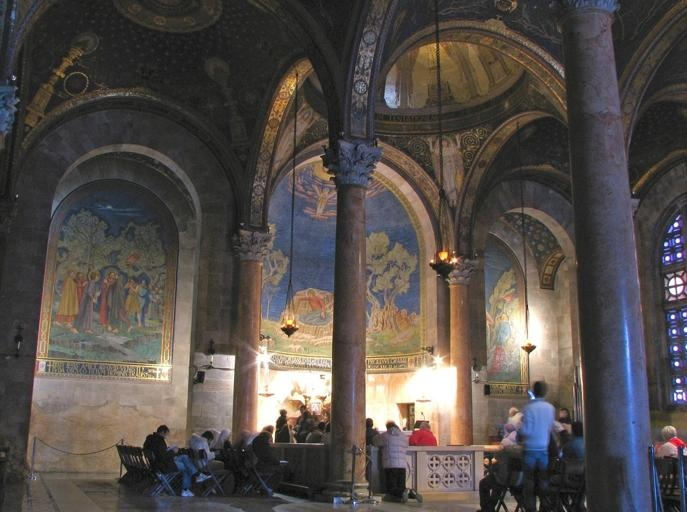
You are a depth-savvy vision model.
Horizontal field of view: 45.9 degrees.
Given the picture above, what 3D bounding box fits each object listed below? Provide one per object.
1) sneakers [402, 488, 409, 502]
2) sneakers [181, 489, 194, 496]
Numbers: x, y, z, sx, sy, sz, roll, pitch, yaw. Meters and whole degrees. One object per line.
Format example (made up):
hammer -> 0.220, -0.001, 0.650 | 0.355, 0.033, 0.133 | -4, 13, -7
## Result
sneakers -> 1.275, 4.870, 16.613 | 0.103, 0.217, 0.092 | 4, -12, -25
sneakers -> -3.305, 4.951, 17.065 | 0.371, 0.155, 0.122 | 6, -13, -8
